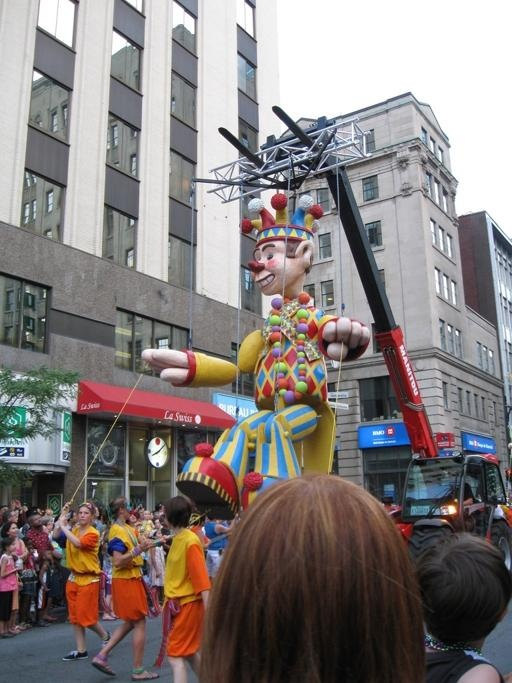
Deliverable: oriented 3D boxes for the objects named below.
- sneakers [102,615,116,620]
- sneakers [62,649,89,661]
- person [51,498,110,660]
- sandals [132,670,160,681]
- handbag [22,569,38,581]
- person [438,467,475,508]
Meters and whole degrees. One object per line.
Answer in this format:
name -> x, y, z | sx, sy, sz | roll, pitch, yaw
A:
sneakers -> -2.489, 4.679, 10.556 | 0.202, 0.086, 0.074 | -5, -14, 12
sneakers -> -2.148, 3.681, 7.312 | 0.341, 0.135, 0.124 | 7, -20, -10
person -> -1.990, 2.732, 7.111 | 0.636, 1.683, 0.511 | 1, -19, -14
sandals -> -1.125, 3.393, 6.379 | 0.278, 0.116, 0.121 | 1, -14, -8
handbag -> -3.596, 3.707, 9.882 | 0.198, 0.185, 0.196 | -6, -18, 0
person -> 3.334, 2.442, 10.325 | 0.604, 0.834, 0.353 | -1, -32, 30
